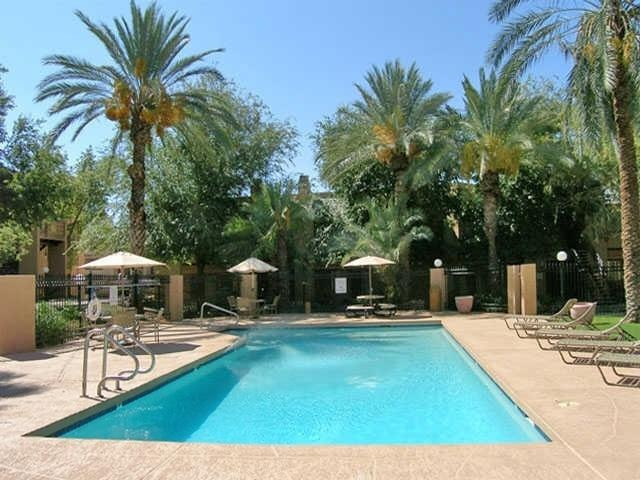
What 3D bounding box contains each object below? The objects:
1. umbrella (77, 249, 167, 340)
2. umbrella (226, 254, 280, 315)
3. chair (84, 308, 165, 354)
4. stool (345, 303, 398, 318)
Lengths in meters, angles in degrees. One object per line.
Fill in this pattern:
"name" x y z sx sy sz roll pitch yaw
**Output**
"umbrella" -6.022 1.219 15.964 1.507 1.583 1.545 -4 16 12
"umbrella" -3.159 2.316 24.373 2.619 2.873 2.355 -2 5 -45
"chair" -5.313 2.485 13.967 1.297 0.688 1.524 1 0 4
"stool" 2.199 3.073 22.244 2.052 0.627 1.056 1 6 2
